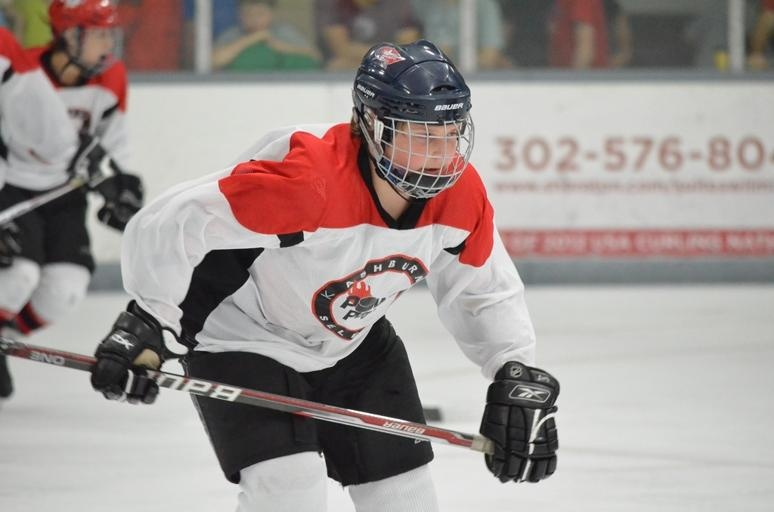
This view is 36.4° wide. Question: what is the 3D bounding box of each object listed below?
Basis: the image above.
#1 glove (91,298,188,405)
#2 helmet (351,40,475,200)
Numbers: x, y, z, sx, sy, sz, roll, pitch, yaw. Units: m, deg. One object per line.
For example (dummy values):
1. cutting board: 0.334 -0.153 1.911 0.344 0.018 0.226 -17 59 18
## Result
1. glove: -1.032 0.401 4.856 0.396 0.405 0.197 51 13 19
2. helmet: 0.101 -0.557 4.853 0.469 0.601 0.333 -3 19 -1
